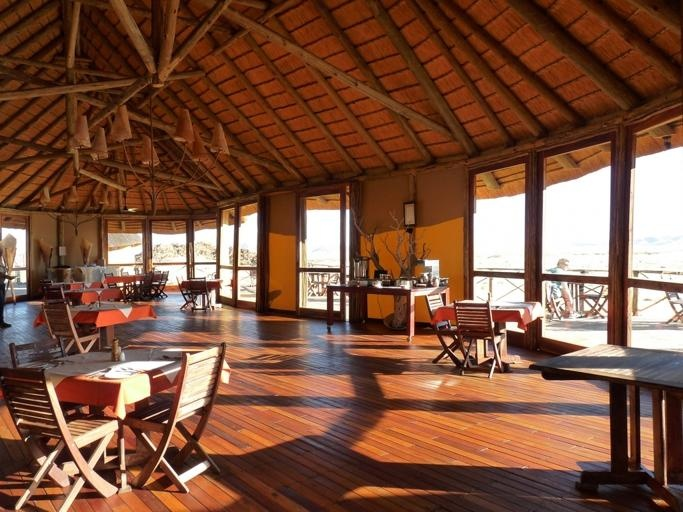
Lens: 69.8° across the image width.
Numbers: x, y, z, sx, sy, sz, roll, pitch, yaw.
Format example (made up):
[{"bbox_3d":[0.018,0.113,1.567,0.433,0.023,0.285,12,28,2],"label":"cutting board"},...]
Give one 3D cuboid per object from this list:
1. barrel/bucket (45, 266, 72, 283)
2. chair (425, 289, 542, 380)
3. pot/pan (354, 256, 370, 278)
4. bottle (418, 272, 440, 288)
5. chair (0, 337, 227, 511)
[{"bbox_3d":[-8.749,0.563,15.093,1.061,0.564,0.904,1,4,-19],"label":"barrel/bucket"},{"bbox_3d":[1.919,1.012,6.830,1.315,0.663,1.324,-1,-4,22],"label":"chair"},{"bbox_3d":[0.381,0.225,9.499,0.418,0.340,0.424,1,-7,-2],"label":"pot/pan"},{"bbox_3d":[1.563,0.409,8.749,0.375,0.249,0.217,0,-2,1],"label":"bottle"},{"bbox_3d":[-1.603,1.292,4.064,1.690,0.759,1.527,0,1,27],"label":"chair"}]
